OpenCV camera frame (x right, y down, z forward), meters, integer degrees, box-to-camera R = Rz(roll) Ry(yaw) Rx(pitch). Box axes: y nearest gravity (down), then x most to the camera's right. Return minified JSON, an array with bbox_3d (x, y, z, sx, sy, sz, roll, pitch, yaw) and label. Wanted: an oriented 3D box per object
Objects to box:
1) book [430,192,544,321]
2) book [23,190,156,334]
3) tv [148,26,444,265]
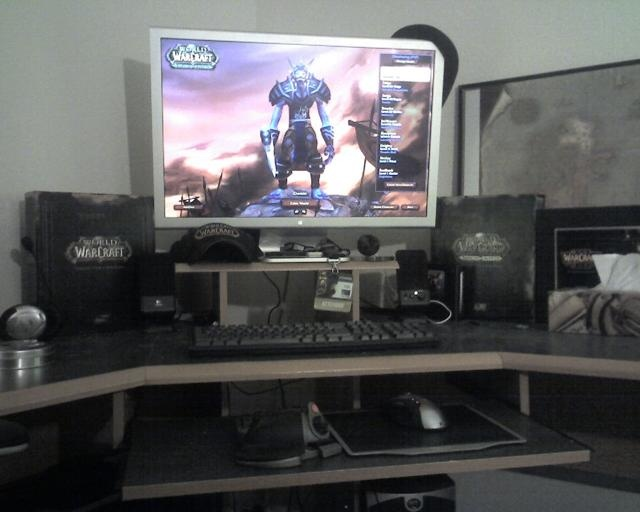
[{"bbox_3d":[0.562,-0.015,1.896,0.359,0.372,0.199,0,11,32],"label":"book"},{"bbox_3d":[-0.630,0.030,1.634,0.369,0.424,0.149,1,-2,-20],"label":"book"},{"bbox_3d":[-0.084,-0.331,1.811,0.718,0.500,0.019,0,2,-12],"label":"tv"}]
